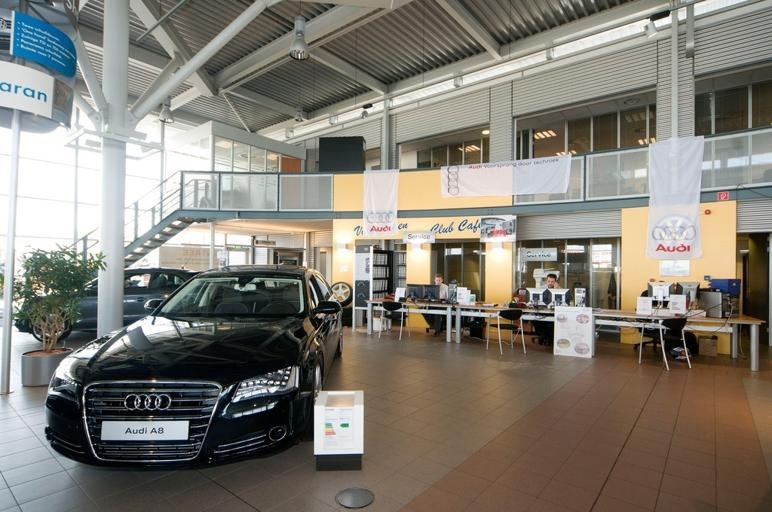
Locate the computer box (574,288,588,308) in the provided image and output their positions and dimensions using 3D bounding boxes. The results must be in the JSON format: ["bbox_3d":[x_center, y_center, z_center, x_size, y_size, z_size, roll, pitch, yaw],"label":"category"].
[{"bbox_3d":[4.622,0.973,12.392,0.227,0.322,0.224,-2,-1,12],"label":"computer box"}]

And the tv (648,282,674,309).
[{"bbox_3d":[6.340,0.919,12.023,0.634,0.773,0.304,2,5,33],"label":"tv"}]

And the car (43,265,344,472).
[{"bbox_3d":[-2.674,1.471,7.851,4.109,2.541,2.084,-1,-1,-10],"label":"car"}]

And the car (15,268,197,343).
[{"bbox_3d":[-6.120,0.990,12.732,4.538,1.337,2.021,0,-2,-38],"label":"car"}]

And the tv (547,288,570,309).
[{"bbox_3d":[4.144,1.027,12.524,0.573,0.430,0.234,3,2,36],"label":"tv"}]

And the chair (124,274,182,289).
[{"bbox_3d":[-5.875,0.612,13.323,1.220,0.481,0.614,5,-2,-7],"label":"chair"}]

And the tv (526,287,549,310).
[{"bbox_3d":[3.747,1.062,12.887,0.621,0.444,0.209,1,-1,24],"label":"tv"}]

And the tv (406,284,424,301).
[{"bbox_3d":[0.803,1.015,14.332,0.487,0.421,0.168,1,-1,29],"label":"tv"}]

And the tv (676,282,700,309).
[{"bbox_3d":[6.828,0.912,11.810,0.617,0.771,0.327,-1,-7,33],"label":"tv"}]

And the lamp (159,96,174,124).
[{"bbox_3d":[-7.521,-5.031,17.975,0.349,1.049,1.199,-1,-1,-21],"label":"lamp"}]

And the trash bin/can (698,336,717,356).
[{"bbox_3d":[7.637,2.119,12.502,0.546,0.473,0.422,-3,-5,30],"label":"trash bin/can"}]
